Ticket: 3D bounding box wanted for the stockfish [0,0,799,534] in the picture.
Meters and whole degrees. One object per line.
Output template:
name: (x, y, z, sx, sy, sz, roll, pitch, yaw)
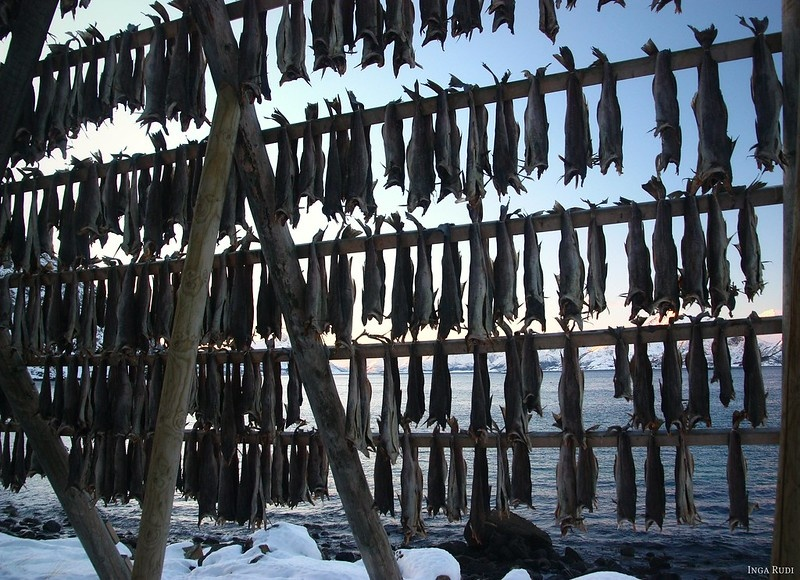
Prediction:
stockfish: (-0.411, -0.308, 10.543, 8.475, 5.655, 2.114, -5, -10, 13)
